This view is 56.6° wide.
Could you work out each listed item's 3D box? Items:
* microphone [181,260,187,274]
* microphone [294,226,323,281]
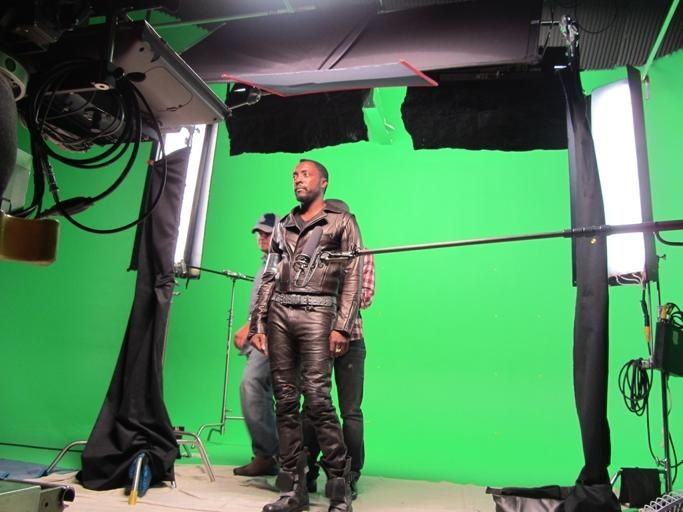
[{"bbox_3d":[-1.251,0.093,5.071,0.028,0.083,0.057,-7,7,-1],"label":"microphone"},{"bbox_3d":[-0.194,-0.006,4.278,0.115,0.422,0.109,-4,-33,36],"label":"microphone"}]
